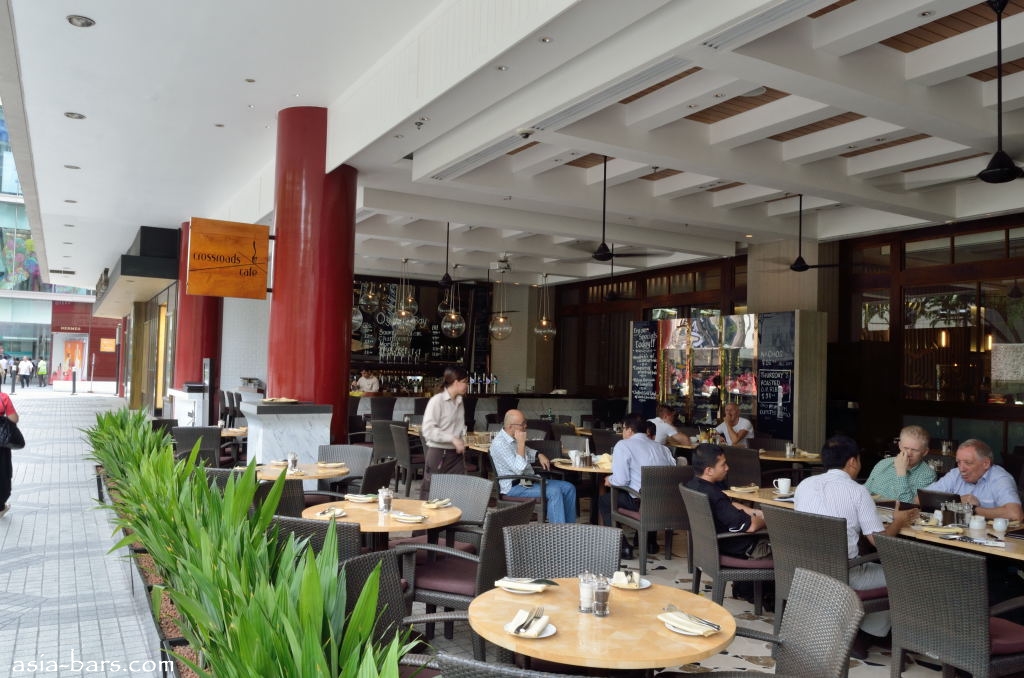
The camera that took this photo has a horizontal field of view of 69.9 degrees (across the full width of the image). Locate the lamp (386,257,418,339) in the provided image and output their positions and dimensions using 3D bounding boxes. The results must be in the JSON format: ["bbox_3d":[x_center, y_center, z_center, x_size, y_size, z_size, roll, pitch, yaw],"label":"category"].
[{"bbox_3d":[-2.575,-0.993,17.240,0.767,1.745,0.699,6,10,-21],"label":"lamp"}]

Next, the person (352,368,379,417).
[{"bbox_3d":[-3.093,1.060,15.463,0.554,0.856,0.520,-3,0,14],"label":"person"}]

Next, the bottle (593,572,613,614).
[{"bbox_3d":[0.481,1.371,3.959,0.087,0.181,0.219,-4,7,9],"label":"bottle"}]

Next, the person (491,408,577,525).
[{"bbox_3d":[0.220,1.407,7.781,0.911,1.247,0.646,3,10,17],"label":"person"}]

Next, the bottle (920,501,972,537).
[{"bbox_3d":[3.215,1.336,5.433,0.318,0.103,0.228,-4,1,-20],"label":"bottle"}]

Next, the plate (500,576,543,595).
[{"bbox_3d":[0.056,1.406,4.195,0.275,0.057,0.165,-4,6,-5],"label":"plate"}]

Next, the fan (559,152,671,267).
[{"bbox_3d":[1.202,-1.701,9.381,1.403,1.410,1.249,2,23,9],"label":"fan"}]

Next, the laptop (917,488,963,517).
[{"bbox_3d":[3.451,1.365,5.895,0.209,0.184,0.297,-11,2,-28],"label":"laptop"}]

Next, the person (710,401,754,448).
[{"bbox_3d":[3.037,1.271,10.015,0.566,0.793,0.528,-7,13,-15],"label":"person"}]
